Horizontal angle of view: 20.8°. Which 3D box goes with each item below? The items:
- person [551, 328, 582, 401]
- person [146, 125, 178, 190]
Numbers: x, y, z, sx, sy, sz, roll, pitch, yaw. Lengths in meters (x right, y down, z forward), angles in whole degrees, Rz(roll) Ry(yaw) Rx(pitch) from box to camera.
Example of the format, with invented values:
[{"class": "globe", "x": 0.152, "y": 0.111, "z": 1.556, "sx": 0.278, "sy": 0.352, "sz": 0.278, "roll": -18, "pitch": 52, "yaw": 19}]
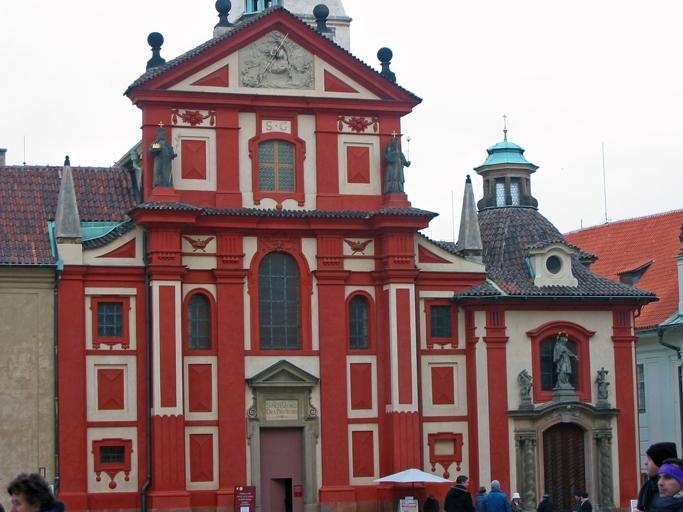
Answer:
[{"class": "person", "x": 7.956, "y": 3.885, "z": 66.155, "sx": 0.852, "sy": 2.461, "sz": 0.466, "roll": 5, "pitch": -14, "yaw": -30}, {"class": "person", "x": -6.039, "y": -3.484, "z": 63.218, "sx": 0.835, "sy": 2.230, "sz": 0.562, "roll": 1, "pitch": -12, "yaw": -15}]
